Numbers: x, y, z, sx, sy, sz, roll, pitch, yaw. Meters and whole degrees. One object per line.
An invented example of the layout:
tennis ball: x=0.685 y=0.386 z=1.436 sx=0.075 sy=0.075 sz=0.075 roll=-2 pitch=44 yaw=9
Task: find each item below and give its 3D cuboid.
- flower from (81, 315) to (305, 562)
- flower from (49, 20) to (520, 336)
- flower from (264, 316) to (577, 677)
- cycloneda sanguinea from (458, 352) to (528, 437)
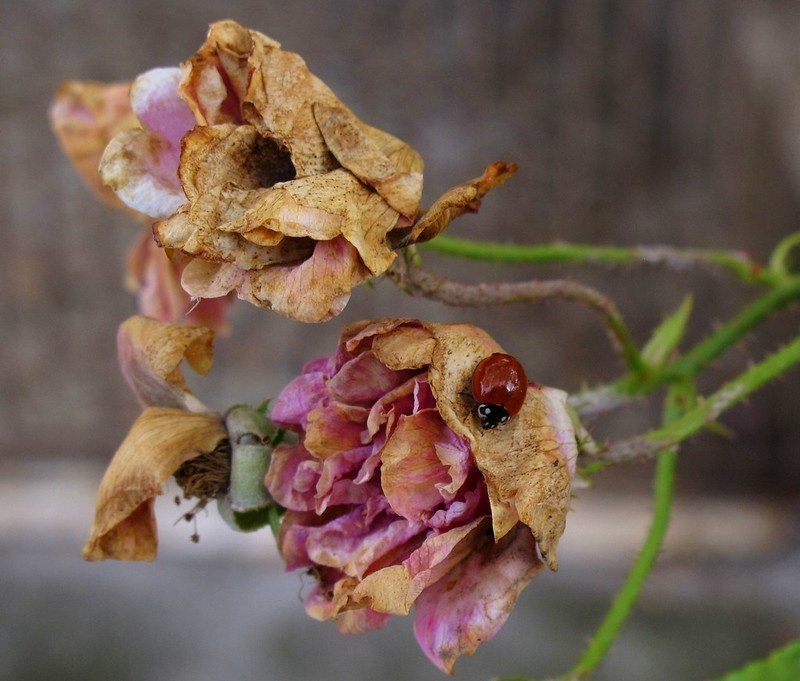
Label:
flower: x=-0.112 y=0.067 z=0.712 sx=0.112 sy=0.061 sz=0.125 roll=14 pitch=48 yaw=12
flower: x=-0.048 y=-0.105 z=0.696 sx=0.229 sy=0.134 sz=0.180 roll=-19 pitch=33 yaw=-30
flower: x=0.005 y=0.074 z=0.670 sx=0.154 sy=0.097 sz=0.171 roll=4 pitch=52 yaw=0
cycloneda sanguinea: x=0.048 y=0.025 z=0.658 sx=0.030 sy=0.027 sz=0.034 roll=29 pitch=69 yaw=11
